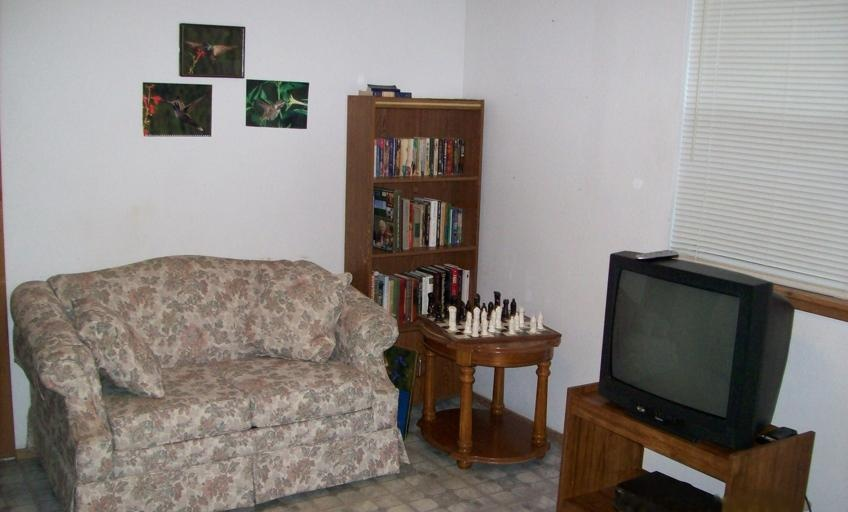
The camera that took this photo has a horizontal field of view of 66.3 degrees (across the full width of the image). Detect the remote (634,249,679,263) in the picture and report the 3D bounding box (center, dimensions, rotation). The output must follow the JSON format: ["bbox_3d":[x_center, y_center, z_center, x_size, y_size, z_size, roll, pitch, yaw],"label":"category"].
[{"bbox_3d":[1.360,-0.002,3.748,0.224,0.044,0.112,-3,5,-16],"label":"remote"}]

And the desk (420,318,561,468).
[{"bbox_3d":[0.405,0.930,4.812,1.063,0.881,1.019,-4,14,-26],"label":"desk"}]

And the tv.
[{"bbox_3d":[1.416,0.511,3.620,0.832,0.969,0.293,10,15,42],"label":"tv"}]
